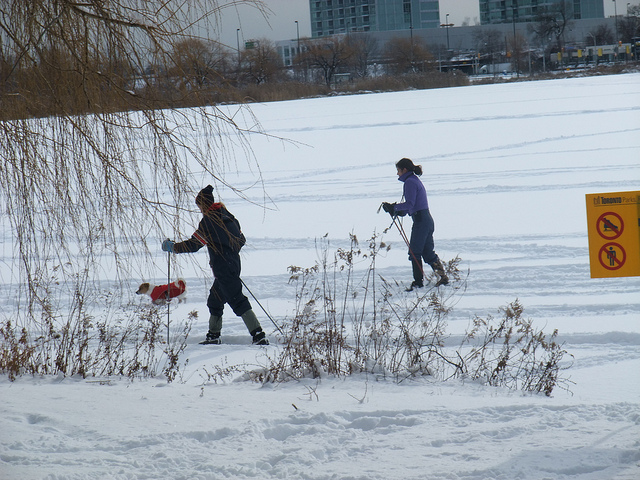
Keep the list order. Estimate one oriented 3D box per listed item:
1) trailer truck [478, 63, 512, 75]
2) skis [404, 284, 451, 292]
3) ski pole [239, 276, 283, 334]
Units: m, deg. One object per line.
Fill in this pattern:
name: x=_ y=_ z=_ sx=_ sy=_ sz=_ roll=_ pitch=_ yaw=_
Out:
trailer truck: x=9.479 y=-9.240 z=61.589 sx=1.676 sy=0.559 sz=3.000 roll=-2 pitch=16 yaw=-7
skis: x=1.401 y=0.640 z=14.831 sx=0.674 sy=0.034 sz=0.133 roll=-5 pitch=17 yaw=-18
ski pole: x=-0.733 y=0.845 z=14.063 sx=0.020 sy=0.873 sz=0.065 roll=-35 pitch=-22 yaw=-7
